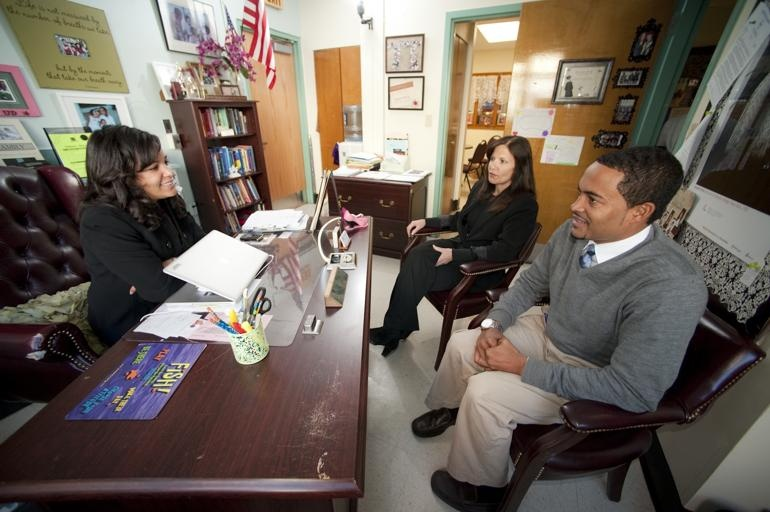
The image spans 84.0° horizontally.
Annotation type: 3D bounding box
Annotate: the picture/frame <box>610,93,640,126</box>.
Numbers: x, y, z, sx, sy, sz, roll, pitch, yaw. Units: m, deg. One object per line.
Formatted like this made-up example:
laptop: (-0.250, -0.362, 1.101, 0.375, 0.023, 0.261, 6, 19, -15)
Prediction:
picture/frame: (2.072, -1.278, 3.696, 0.239, 0.336, 0.016, 17, 31, 29)

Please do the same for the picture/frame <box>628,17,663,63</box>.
picture/frame: (2.124, -1.760, 3.494, 0.187, 0.318, 0.036, 10, 29, 23)

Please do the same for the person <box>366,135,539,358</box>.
person: (0.478, -0.030, 3.194, 1.100, 1.676, 0.781, -1, 24, -17)

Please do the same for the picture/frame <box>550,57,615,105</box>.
picture/frame: (1.744, -1.544, 3.744, 0.458, 0.394, 0.036, 6, 29, 16)

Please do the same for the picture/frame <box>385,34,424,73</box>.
picture/frame: (0.200, -2.050, 4.292, 0.402, 0.330, 0.029, 7, 33, 17)

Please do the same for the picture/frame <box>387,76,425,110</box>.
picture/frame: (0.225, -1.707, 4.444, 0.365, 0.288, 0.017, 3, 21, 15)

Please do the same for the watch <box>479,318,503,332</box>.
watch: (0.599, 0.392, 2.444, 0.095, 0.062, 0.097, 24, -7, -2)

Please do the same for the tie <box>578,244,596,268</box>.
tie: (1.070, 0.003, 2.264, 0.040, 0.121, 0.067, 14, 5, -21)

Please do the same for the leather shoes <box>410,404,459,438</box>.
leather shoes: (0.293, 1.009, 2.655, 0.393, 0.153, 0.128, -12, 53, -7)

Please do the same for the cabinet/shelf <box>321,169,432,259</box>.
cabinet/shelf: (0.023, -0.554, 4.469, 1.098, 0.995, 0.807, 6, 27, 16)

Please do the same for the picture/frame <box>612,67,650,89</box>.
picture/frame: (2.078, -1.509, 3.609, 0.224, 0.174, 0.012, 4, 24, 18)
